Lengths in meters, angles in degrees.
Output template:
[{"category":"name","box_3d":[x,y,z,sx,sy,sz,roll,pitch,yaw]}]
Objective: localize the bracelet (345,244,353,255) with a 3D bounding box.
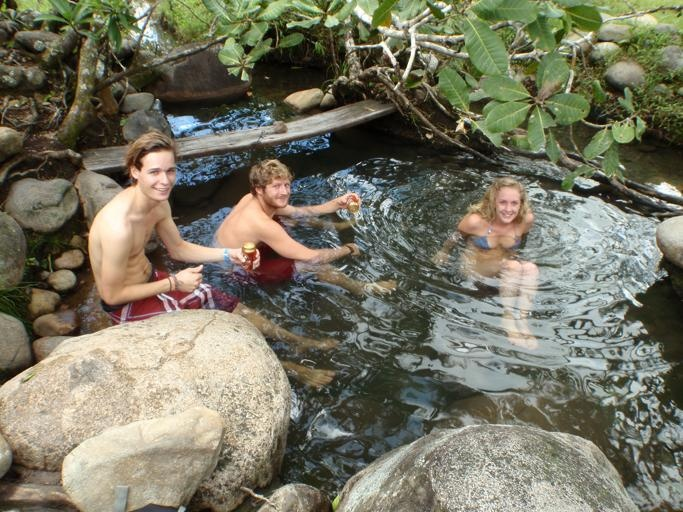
[{"category":"bracelet","box_3d":[0.085,-0.080,6.995,0.045,0.098,0.087,-1,7,-10]}]

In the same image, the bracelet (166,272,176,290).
[{"category":"bracelet","box_3d":[-1.661,0.261,5.653,0.098,0.133,0.117,-3,7,-15]}]

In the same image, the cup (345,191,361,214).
[{"category":"cup","box_3d":[0.133,-0.642,7.097,0.131,0.132,0.253,-5,31,-6]}]
